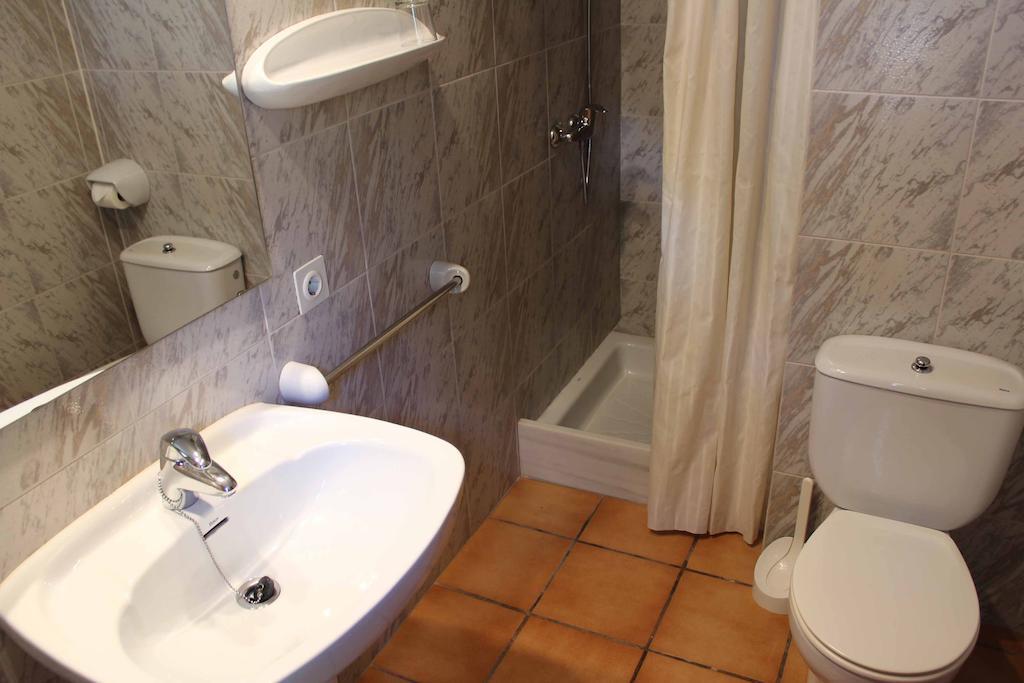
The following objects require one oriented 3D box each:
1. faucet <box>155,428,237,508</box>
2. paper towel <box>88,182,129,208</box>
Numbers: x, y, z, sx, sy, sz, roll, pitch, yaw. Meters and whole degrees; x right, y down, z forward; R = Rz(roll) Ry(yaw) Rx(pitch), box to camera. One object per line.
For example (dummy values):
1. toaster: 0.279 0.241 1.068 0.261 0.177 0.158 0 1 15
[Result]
1. faucet: -0.715 0.287 1.572 0.204 0.133 0.076 21 44 30
2. paper towel: -0.873 -0.315 1.510 0.049 0.034 0.068 0 14 -27
